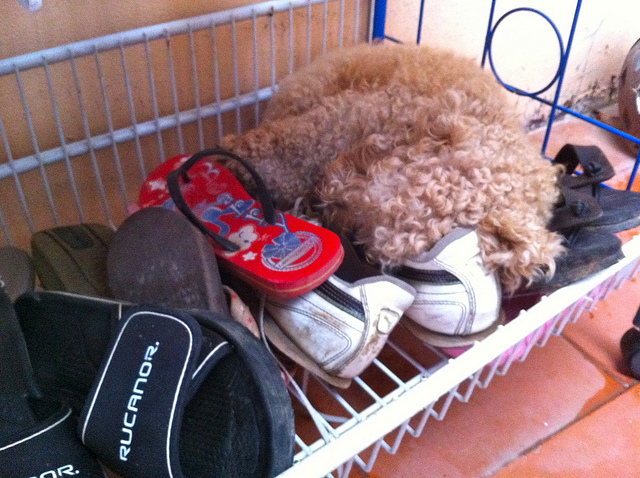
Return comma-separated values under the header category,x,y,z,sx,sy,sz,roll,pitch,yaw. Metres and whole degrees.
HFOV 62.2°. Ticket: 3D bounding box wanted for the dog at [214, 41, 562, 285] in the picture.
category,x,y,z,sx,sy,sz,roll,pitch,yaw
dog,0.134,-0.147,0.900,0.572,0.283,0.358,19,36,22
